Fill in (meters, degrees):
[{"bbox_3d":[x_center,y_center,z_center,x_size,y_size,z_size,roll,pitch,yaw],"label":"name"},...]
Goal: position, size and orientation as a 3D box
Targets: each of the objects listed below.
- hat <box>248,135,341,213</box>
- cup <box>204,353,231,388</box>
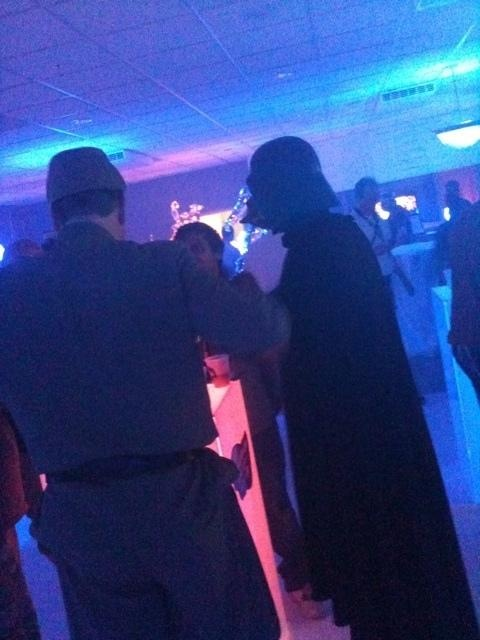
[{"bbox_3d":[0.129,-0.303,1.389,0.175,0.160,0.137,18,6,10],"label":"hat"},{"bbox_3d":[-0.057,0.115,1.391,0.058,0.090,0.066,-2,-5,-5],"label":"cup"}]
